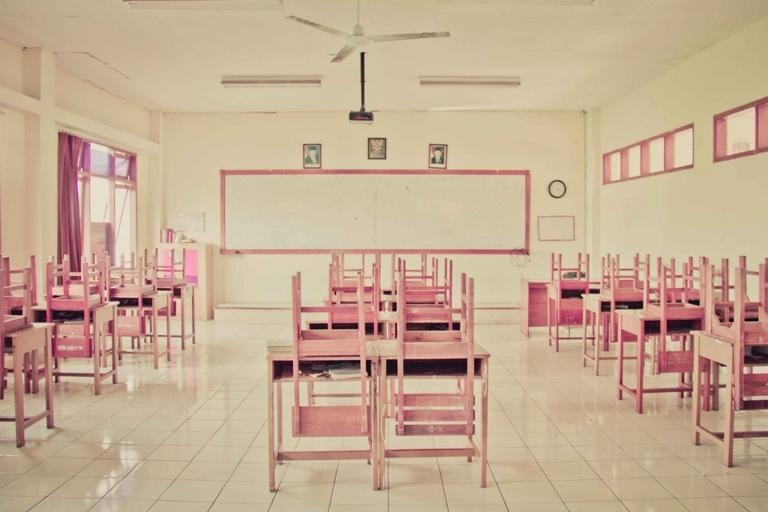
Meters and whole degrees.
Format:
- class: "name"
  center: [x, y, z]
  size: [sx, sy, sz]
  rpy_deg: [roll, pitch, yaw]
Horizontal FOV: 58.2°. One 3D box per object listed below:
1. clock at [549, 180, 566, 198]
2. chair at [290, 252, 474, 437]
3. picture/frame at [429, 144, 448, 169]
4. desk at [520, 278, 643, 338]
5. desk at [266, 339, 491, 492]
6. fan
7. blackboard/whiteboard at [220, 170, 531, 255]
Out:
- class: "clock"
  center: [3.090, -1.215, 12.411]
  size: [0.340, 0.299, 0.041]
  rpy_deg: [-6, 9, -3]
- class: "chair"
  center: [0.006, 1.105, 7.769]
  size: [1.997, 1.668, 1.939]
  rpy_deg: [-1, -1, -2]
- class: "picture/frame"
  center: [0.952, -1.798, 12.379]
  size: [0.498, 0.524, 0.061]
  rpy_deg: [1, 0, -2]
- class: "desk"
  center: [2.912, 0.821, 11.057]
  size: [1.545, 1.112, 0.826]
  rpy_deg: [-1, 0, -2]
- class: "desk"
  center: [-0.057, 1.676, 7.109]
  size: [1.736, 0.935, 0.580]
  rpy_deg: [-1, -2, -2]
- class: "fan"
  center: [-0.240, -2.701, 8.810]
  size: [1.357, 0.472, 0.919]
  rpy_deg: [1, 8, -8]
- class: "blackboard/whiteboard"
  center: [-0.171, -0.781, 12.421]
  size: [5.488, 1.626, 0.197]
  rpy_deg: [-1, -1, 1]
